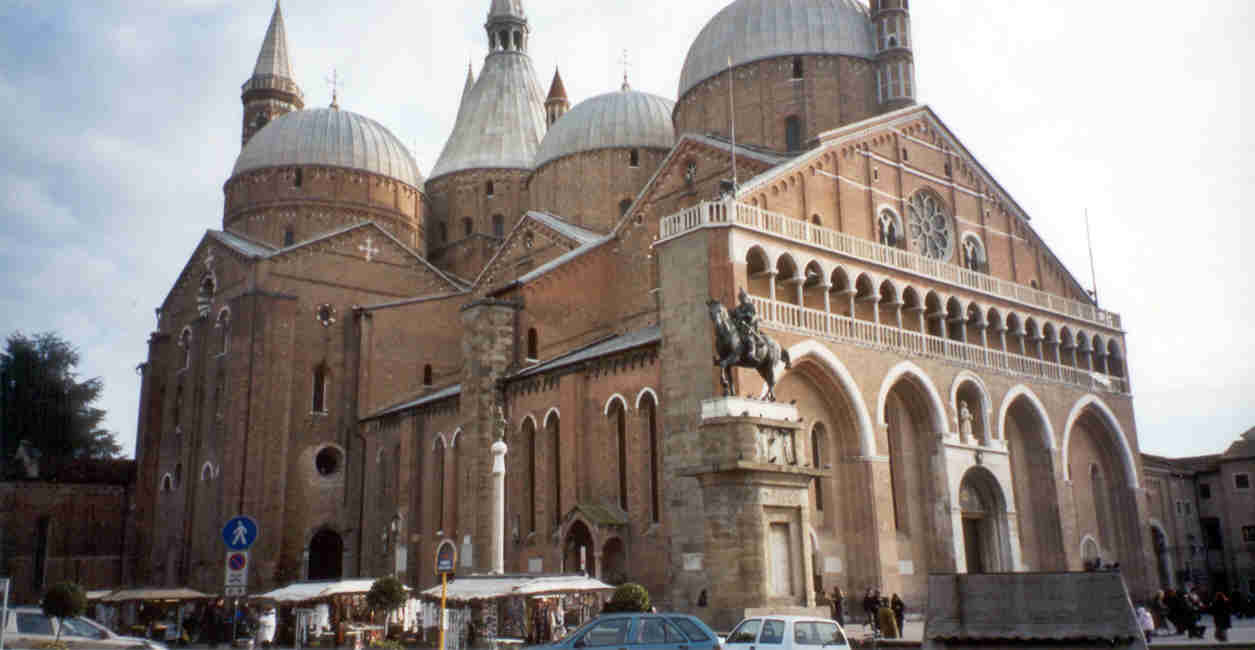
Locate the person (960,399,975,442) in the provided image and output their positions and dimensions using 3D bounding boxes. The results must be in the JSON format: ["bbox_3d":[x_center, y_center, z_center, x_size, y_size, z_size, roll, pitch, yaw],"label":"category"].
[{"bbox_3d":[20.500,5.910,73.167,0.415,2.636,1.201,-19,-28,36],"label":"person"}]

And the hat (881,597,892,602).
[{"bbox_3d":[13.946,14.951,65.691,0.613,0.184,0.535,-7,-12,32],"label":"hat"}]

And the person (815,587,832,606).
[{"bbox_3d":[10.984,15.276,67.692,1.088,0.973,0.796,17,-28,-37],"label":"person"}]
